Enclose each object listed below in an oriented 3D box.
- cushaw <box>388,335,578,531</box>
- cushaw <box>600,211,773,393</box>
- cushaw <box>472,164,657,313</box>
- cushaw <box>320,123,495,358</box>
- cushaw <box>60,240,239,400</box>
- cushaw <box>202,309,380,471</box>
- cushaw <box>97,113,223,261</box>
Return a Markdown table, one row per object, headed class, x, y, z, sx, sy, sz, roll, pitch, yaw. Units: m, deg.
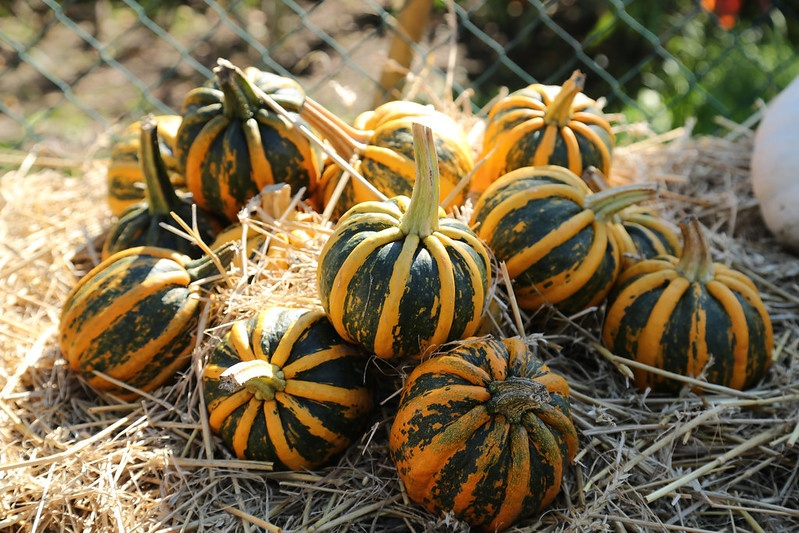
| class | x | y | z | sx | sy | sz | roll | pitch | yaw |
| --- | --- | --- | --- | --- | --- | --- | --- | --- | --- |
| cushaw | 0.376 | 0.837 | 3.989 | 0.880 | 0.884 | 0.892 | 20 | 54 | 10 |
| cushaw | 1.610 | 0.209 | 4.168 | 0.903 | 0.755 | 0.565 | 17 | 44 | 13 |
| cushaw | 1.063 | -0.116 | 4.585 | 1.059 | 0.853 | 0.813 | -23 | 75 | 16 |
| cushaw | 0.041 | -0.069 | 3.909 | 0.891 | 0.966 | 0.657 | 0 | 42 | -5 |
| cushaw | -1.429 | 0.305 | 4.319 | 0.875 | 0.591 | 0.610 | -7 | 43 | -12 |
| cushaw | -0.590 | 0.666 | 4.138 | 0.846 | 0.868 | 0.877 | -9 | 74 | 11 |
| cushaw | -1.409 | -0.456 | 4.671 | 0.602 | 0.960 | 0.640 | -10 | 21 | 8 |
